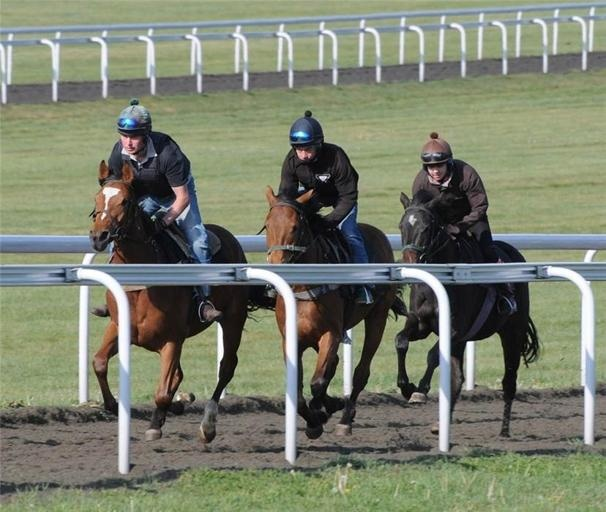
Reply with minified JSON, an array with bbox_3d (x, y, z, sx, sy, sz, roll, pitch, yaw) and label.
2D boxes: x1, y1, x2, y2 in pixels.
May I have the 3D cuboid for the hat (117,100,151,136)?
[{"bbox_3d":[-1.774,-1.412,19.323,0.291,0.333,0.416,0,36,1],"label":"hat"}]

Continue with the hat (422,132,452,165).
[{"bbox_3d":[1.487,-1.137,19.938,0.271,0.252,0.375,-11,28,21],"label":"hat"}]

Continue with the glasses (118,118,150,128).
[{"bbox_3d":[-1.757,-1.389,19.182,0.341,0.109,0.128,-2,7,-10],"label":"glasses"}]

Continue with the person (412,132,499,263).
[{"bbox_3d":[1.663,-0.629,19.935,0.900,1.396,0.627,-1,7,4],"label":"person"}]

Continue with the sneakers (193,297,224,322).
[{"bbox_3d":[-0.956,0.568,19.421,0.304,0.285,0.182,10,-15,-43],"label":"sneakers"}]

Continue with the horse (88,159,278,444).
[{"bbox_3d":[-1.366,0.476,19.400,1.918,3.021,0.839,-6,9,-35],"label":"horse"}]

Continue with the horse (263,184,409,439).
[{"bbox_3d":[0.306,0.601,19.717,0.834,2.664,2.031,3,8,29],"label":"horse"}]

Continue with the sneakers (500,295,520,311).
[{"bbox_3d":[2.281,0.514,20.085,0.180,0.188,0.137,8,-3,33],"label":"sneakers"}]
